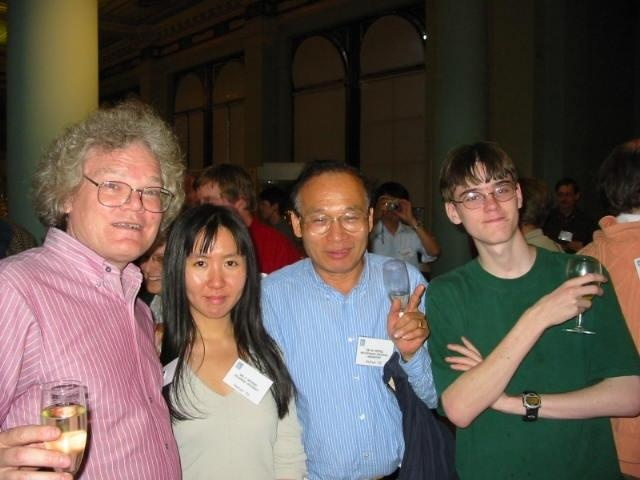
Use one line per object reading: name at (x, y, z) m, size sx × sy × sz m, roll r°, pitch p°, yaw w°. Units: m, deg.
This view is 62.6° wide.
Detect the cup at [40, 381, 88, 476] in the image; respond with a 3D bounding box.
cup at (-0.873, 0.645, 1.785) m, size 0.140 × 0.320 × 0.159 m, roll -4°, pitch -3°, yaw -29°
